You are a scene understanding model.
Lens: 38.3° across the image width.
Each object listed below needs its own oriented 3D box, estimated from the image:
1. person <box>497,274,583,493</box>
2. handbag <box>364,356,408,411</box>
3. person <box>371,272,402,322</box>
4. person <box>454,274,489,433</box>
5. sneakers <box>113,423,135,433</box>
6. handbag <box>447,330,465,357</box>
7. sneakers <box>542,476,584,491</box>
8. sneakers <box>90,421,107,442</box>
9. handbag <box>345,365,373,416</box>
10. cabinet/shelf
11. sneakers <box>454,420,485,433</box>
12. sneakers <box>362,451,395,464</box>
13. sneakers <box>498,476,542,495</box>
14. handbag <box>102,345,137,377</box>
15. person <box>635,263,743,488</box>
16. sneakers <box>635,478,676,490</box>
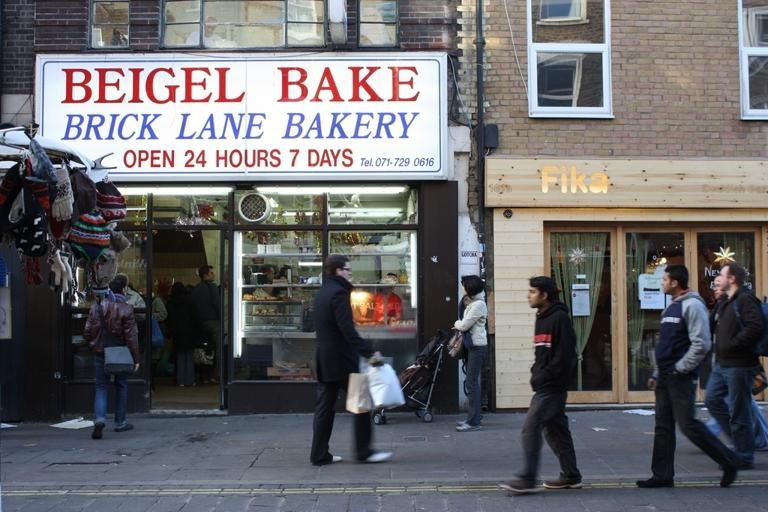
[{"bbox_3d":[2.366,1.823,15.655,0.963,2.970,1.087,3,14,17],"label":"person"},{"bbox_3d":[-0.085,1.909,16.471,0.445,0.682,0.578,-13,-17,10],"label":"handbag"},{"bbox_3d":[0.065,0.890,19.625,0.537,1.141,0.398,7,12,21],"label":"person"},{"bbox_3d":[1.468,1.564,18.268,0.532,2.511,0.830,0,13,4],"label":"person"},{"bbox_3d":[-4.320,2.854,18.423,0.357,0.139,0.119,-3,3,-33],"label":"sneakers"},{"bbox_3d":[1.224,1.459,18.384,0.294,0.454,0.512,7,-7,-3],"label":"handbag"},{"bbox_3d":[2.574,3.227,15.804,0.575,0.220,0.193,2,-5,1],"label":"sneakers"},{"bbox_3d":[-4.666,2.817,17.981,0.204,0.255,0.251,0,13,4],"label":"sneakers"},{"bbox_3d":[-0.478,2.049,16.469,0.526,0.647,0.464,-4,-17,20],"label":"handbag"},{"bbox_3d":[-0.610,0.877,19.785,4.087,2.947,1.683,-3,-2,38],"label":"cabinet/shelf"},{"bbox_3d":[1.434,2.817,18.276,0.466,0.165,0.156,3,-4,-4],"label":"sneakers"},{"bbox_3d":[-0.064,3.029,16.755,0.472,0.163,0.156,-7,-1,-7],"label":"sneakers"},{"bbox_3d":[1.946,3.242,15.663,0.580,0.222,0.212,3,-5,0],"label":"sneakers"},{"bbox_3d":[-4.346,1.690,18.128,0.613,0.494,0.258,0,-10,-16],"label":"handbag"},{"bbox_3d":[4.347,1.734,15.728,1.256,3.061,1.083,10,17,40],"label":"person"},{"bbox_3d":[3.882,3.228,15.804,0.581,0.191,0.180,2,-7,3],"label":"sneakers"}]
